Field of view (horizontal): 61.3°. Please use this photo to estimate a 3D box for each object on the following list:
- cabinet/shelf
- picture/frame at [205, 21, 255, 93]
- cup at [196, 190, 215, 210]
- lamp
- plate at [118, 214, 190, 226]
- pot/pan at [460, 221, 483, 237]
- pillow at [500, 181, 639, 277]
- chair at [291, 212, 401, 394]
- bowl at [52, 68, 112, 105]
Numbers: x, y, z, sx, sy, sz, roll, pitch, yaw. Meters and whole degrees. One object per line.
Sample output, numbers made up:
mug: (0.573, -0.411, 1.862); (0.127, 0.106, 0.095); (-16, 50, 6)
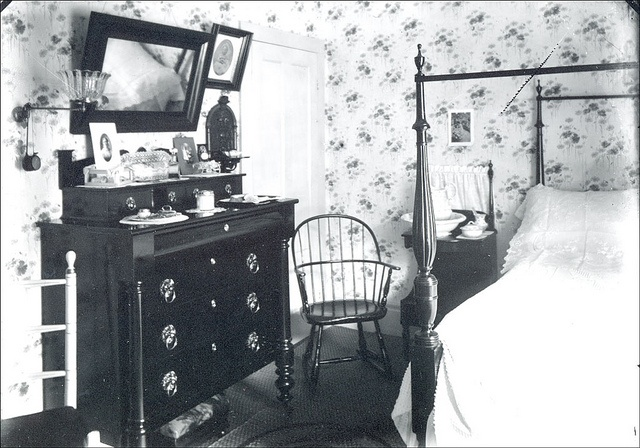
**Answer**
cabinet/shelf: (-0.869, 0.431, 3.479); (0.738, 1.749, 1.515); (6, 10, 29)
picture/frame: (-0.700, -1.199, 3.886); (0.034, 0.448, 0.451); (29, 22, 23)
cup: (-0.718, -0.149, 3.364); (0.112, 0.115, 0.117); (0, 2, 0)
lamp: (-1.455, -0.566, 3.000); (0.484, 0.569, 0.287); (-2, 1, -4)
plate: (-0.917, -0.019, 2.946); (0.372, 0.035, 0.165); (-5, 13, -19)
pot/pan: (1.190, 0.043, 4.182); (0.119, 0.088, 0.124); (-2, 3, 23)
pillow: (1.661, 0.001, 3.517); (0.621, 0.656, 0.157); (-7, -32, 47)
chair: (0.169, 0.590, 4.162); (0.685, 1.227, 0.670); (-4, 7, -7)
bowl: (-1.342, -0.732, 2.969); (0.197, 0.143, 0.219); (0, 10, -3)
